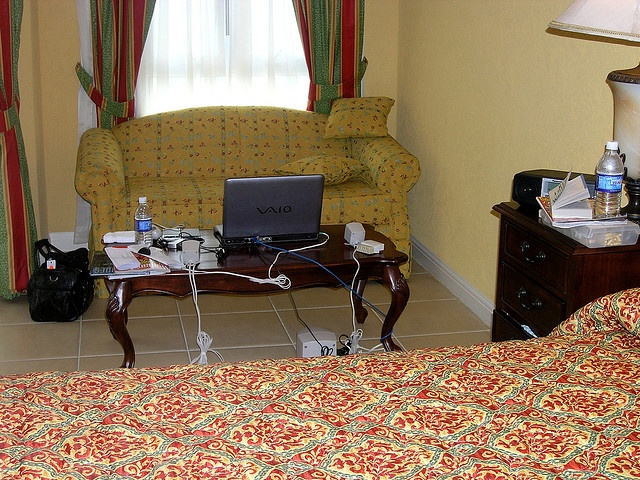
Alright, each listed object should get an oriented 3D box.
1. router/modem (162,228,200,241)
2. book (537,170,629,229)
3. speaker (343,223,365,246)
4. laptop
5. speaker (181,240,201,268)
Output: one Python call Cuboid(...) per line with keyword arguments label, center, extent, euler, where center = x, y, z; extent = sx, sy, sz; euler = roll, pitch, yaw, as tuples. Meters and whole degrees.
Cuboid(label="router/modem", center=(-0.791, -0.038, 2.925), extent=(0.127, 0.046, 0.117), euler=(-3, 16, -18))
Cuboid(label="book", center=(1.026, -0.152, 2.043), extent=(0.297, 0.097, 0.220), euler=(-3, 33, 2))
Cuboid(label="speaker", center=(0.193, -0.030, 2.899), extent=(0.096, 0.075, 0.137), euler=(20, 14, 6))
Cuboid(label="laptop", center=(-0.248, -0.168, 2.703), extent=(0.490, 0.387, 0.391), euler=(-1, 29, -11))
Cuboid(label="speaker", center=(-0.648, 0.068, 2.565), extent=(0.075, 0.136, 0.049), euler=(1, -6, -8))
